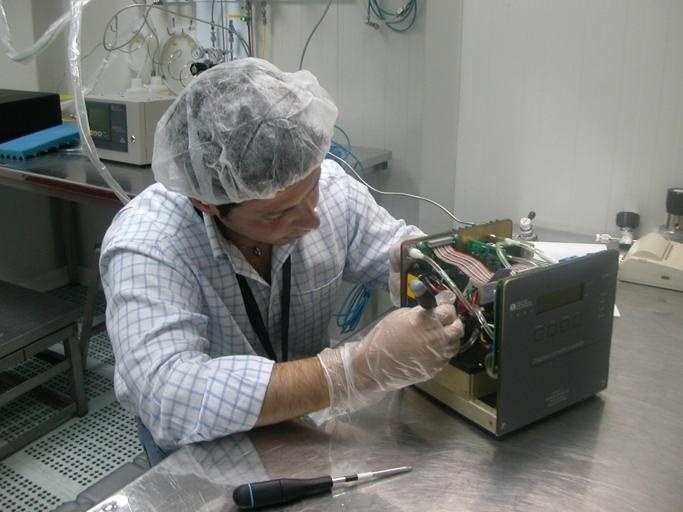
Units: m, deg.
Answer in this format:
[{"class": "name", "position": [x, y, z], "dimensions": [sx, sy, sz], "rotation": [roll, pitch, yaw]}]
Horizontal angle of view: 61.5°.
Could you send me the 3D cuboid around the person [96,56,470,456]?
[{"class": "person", "position": [-0.161, 0.020, 1.420], "dimensions": [0.806, 0.928, 0.767], "rotation": [-11, 26, -25]}]
